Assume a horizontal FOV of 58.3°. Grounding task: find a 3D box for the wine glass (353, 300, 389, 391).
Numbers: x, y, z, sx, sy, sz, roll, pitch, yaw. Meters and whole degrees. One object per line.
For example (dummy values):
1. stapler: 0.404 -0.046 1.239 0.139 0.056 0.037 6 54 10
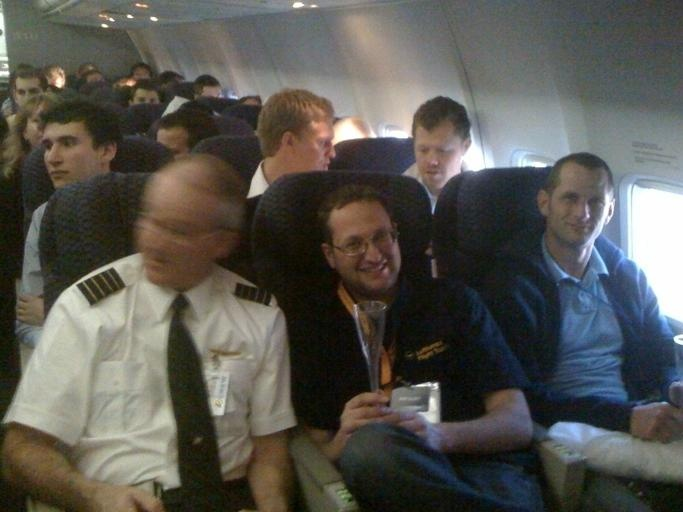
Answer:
1. wine glass: 0.076 0.248 1.662 0.078 0.271 0.090 -4 10 -6
